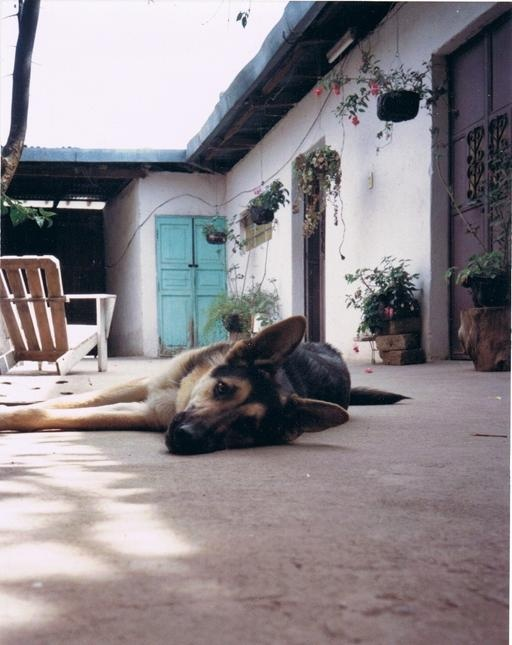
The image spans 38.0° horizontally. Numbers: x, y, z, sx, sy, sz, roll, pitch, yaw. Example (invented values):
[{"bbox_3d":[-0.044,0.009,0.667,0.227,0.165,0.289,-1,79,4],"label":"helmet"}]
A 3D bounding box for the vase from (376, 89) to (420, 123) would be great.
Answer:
[{"bbox_3d":[1.087,-1.671,5.740,0.281,0.193,0.338,-1,2,-34],"label":"vase"}]

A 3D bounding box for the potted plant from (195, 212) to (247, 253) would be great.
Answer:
[{"bbox_3d":[-0.437,-1.320,10.887,0.457,0.375,0.779,-1,8,-16],"label":"potted plant"}]

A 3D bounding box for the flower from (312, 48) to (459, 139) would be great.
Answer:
[{"bbox_3d":[1.045,-1.941,6.235,0.694,0.417,1.053,20,-9,-28],"label":"flower"}]

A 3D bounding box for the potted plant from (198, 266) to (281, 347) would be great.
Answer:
[{"bbox_3d":[-0.112,-0.176,9.273,0.917,1.370,1.020,0,-1,-9],"label":"potted plant"}]

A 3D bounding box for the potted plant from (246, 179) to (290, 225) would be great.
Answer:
[{"bbox_3d":[0.173,-1.435,8.889,0.325,0.479,0.660,-1,2,-22],"label":"potted plant"}]

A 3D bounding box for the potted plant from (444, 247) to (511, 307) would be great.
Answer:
[{"bbox_3d":[1.484,-0.275,4.845,0.321,0.360,0.300,1,2,27],"label":"potted plant"}]
